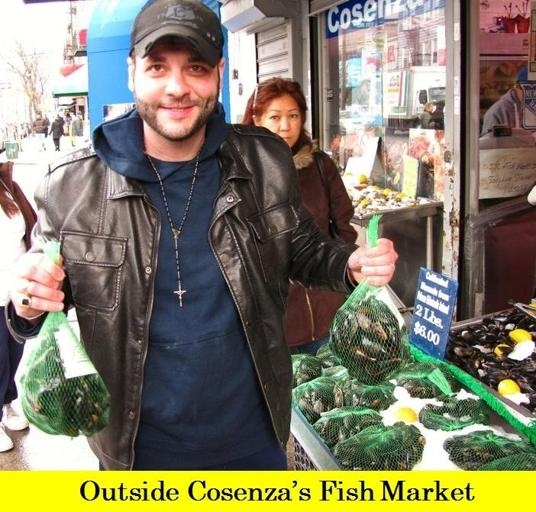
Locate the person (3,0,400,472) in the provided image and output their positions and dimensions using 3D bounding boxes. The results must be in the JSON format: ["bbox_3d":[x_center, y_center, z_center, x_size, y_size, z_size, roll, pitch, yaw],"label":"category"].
[{"bbox_3d":[-0.233,0.005,1.474,1.028,1.563,0.465,-4,9,-4],"label":"person"}]

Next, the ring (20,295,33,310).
[{"bbox_3d":[-0.581,0.111,1.060,0.016,0.023,0.010,-1,6,-8],"label":"ring"}]
